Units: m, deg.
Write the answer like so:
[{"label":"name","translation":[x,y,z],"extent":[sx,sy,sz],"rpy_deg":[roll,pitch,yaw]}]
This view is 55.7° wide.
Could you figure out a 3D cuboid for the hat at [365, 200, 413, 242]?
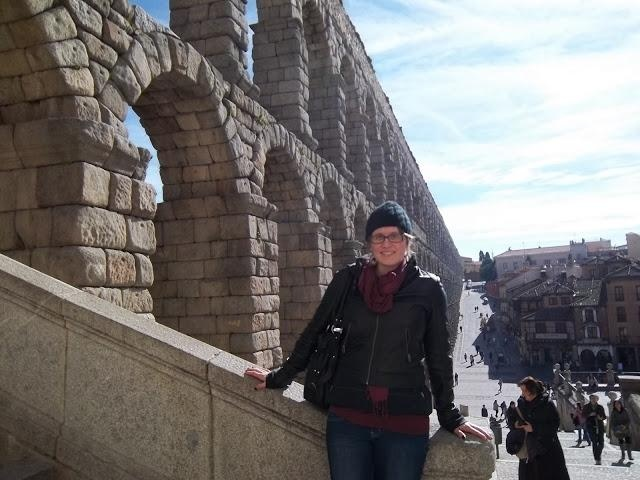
[{"label":"hat","translation":[0.442,-0.072,3.961],"extent":[0.245,0.221,0.262],"rpy_deg":[3,-17,6]}]
